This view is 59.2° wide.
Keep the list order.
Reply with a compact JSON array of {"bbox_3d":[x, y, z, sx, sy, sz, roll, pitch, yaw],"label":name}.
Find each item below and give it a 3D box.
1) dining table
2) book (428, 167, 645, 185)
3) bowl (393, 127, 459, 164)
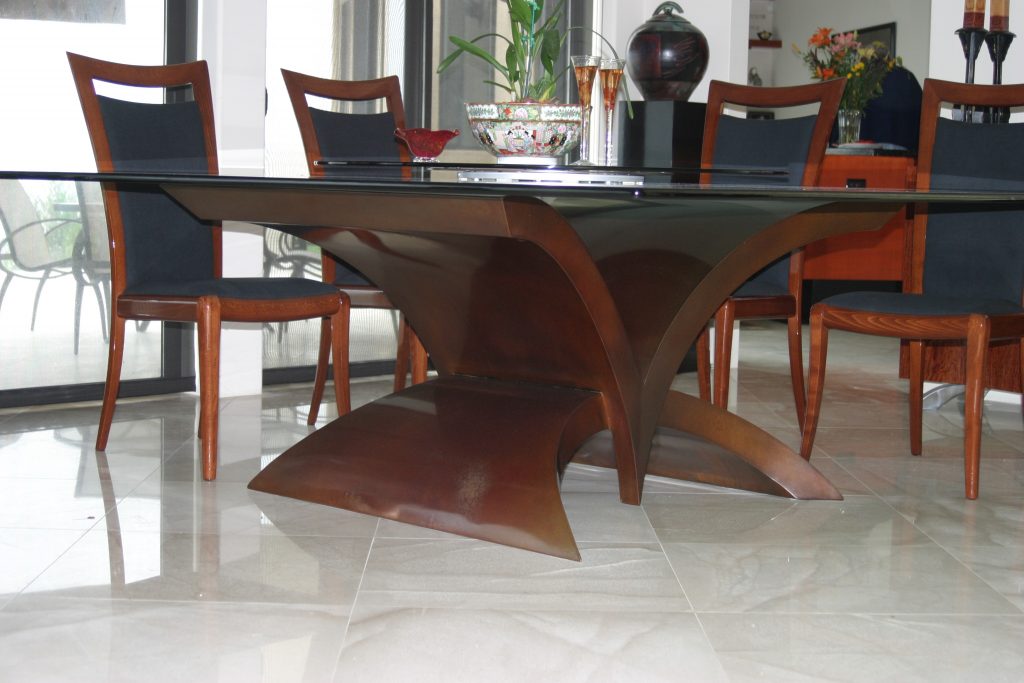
[{"bbox_3d":[0.052,-0.027,2.559,1.696,0.683,1.442,5,8,44],"label":"dining table"},{"bbox_3d":[0.074,-0.388,2.133,0.423,0.028,0.582,1,12,-2],"label":"book"},{"bbox_3d":[-0.252,-0.590,2.709,0.169,0.093,0.258,1,13,-2],"label":"bowl"}]
